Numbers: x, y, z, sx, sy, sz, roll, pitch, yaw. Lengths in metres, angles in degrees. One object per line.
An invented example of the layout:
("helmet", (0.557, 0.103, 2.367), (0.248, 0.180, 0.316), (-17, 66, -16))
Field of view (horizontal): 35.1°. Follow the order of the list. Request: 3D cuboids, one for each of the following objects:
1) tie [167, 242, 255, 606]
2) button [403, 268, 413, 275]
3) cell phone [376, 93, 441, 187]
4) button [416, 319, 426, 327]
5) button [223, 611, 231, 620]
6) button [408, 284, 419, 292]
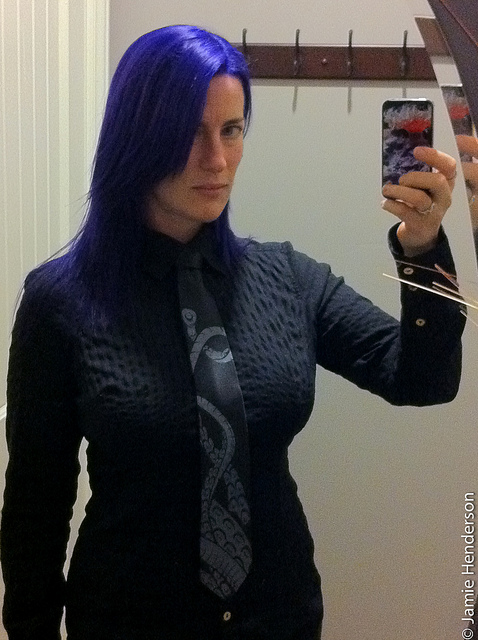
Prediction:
("tie", (-0.029, 0.105, 0.797), (0.059, 0.373, 0.089), (-1, 3, -36))
("button", (0.159, -0.049, 0.704), (0.005, 0.006, 0.001), (3, -2, -4))
("cell phone", (0.180, -0.184, 0.793), (0.052, 0.119, 0.007), (1, -18, 11))
("button", (0.183, -0.001, 0.753), (0.006, 0.007, 0.002), (4, 6, 31))
("button", (-0.011, 0.306, 0.780), (0.006, 0.009, 0.001), (0, 3, -18))
("button", (0.171, -0.035, 0.735), (0.011, 0.007, 0.009), (3, 4, 31))
